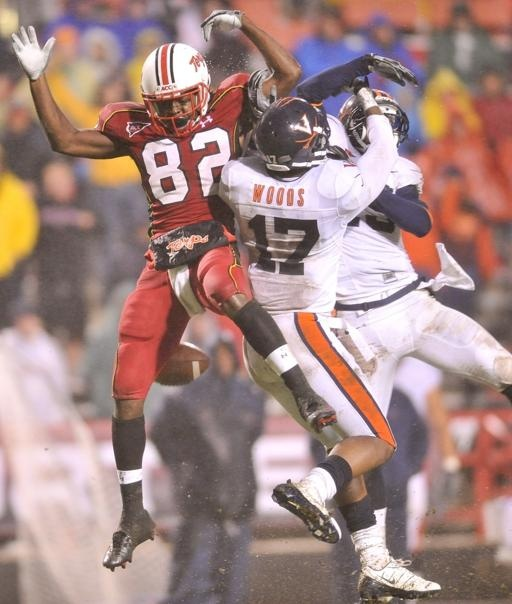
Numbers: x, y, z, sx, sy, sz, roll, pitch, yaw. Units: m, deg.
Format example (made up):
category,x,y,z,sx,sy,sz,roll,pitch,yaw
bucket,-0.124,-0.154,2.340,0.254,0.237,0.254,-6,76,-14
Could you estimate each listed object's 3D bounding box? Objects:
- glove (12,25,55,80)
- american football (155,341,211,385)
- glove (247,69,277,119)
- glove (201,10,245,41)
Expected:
category,x,y,z,sx,sy,sz,roll,pitch,yaw
glove,-0.983,-1.049,3.440,0.232,0.078,0.217,-13,99,-24
american football,-0.361,0.299,3.738,0.193,0.263,0.129,-21,74,28
glove,0.014,-0.890,3.442,0.083,0.153,0.174,-3,73,32
glove,-0.147,-1.203,3.494,0.209,0.128,0.059,-5,86,-2
